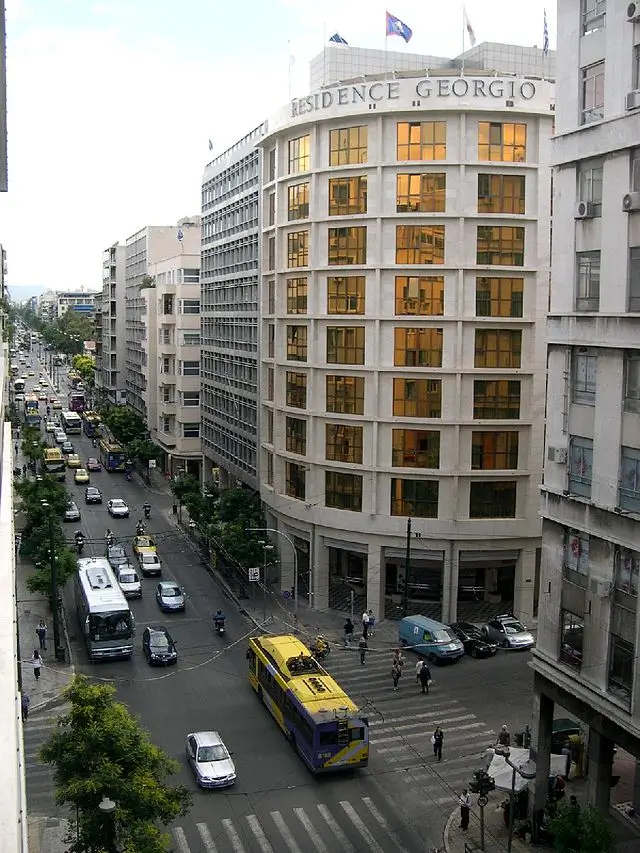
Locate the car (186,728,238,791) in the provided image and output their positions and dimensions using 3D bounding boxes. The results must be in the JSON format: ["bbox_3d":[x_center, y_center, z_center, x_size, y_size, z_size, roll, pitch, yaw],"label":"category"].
[{"bbox_3d":[-4.181,12.839,34.569,1.439,1.204,2.738,0,5,-19],"label":"car"}]

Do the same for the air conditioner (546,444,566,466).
[{"bbox_3d":[7.930,1.020,30.321,0.210,0.661,0.913,-1,5,-21],"label":"air conditioner"}]

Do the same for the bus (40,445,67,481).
[{"bbox_3d":[-29.962,4.936,99.946,3.356,3.422,11.248,0,9,-15],"label":"bus"}]

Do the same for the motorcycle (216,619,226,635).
[{"bbox_3d":[-5.903,11.870,53.418,0.446,0.619,1.046,4,13,-5],"label":"motorcycle"}]
